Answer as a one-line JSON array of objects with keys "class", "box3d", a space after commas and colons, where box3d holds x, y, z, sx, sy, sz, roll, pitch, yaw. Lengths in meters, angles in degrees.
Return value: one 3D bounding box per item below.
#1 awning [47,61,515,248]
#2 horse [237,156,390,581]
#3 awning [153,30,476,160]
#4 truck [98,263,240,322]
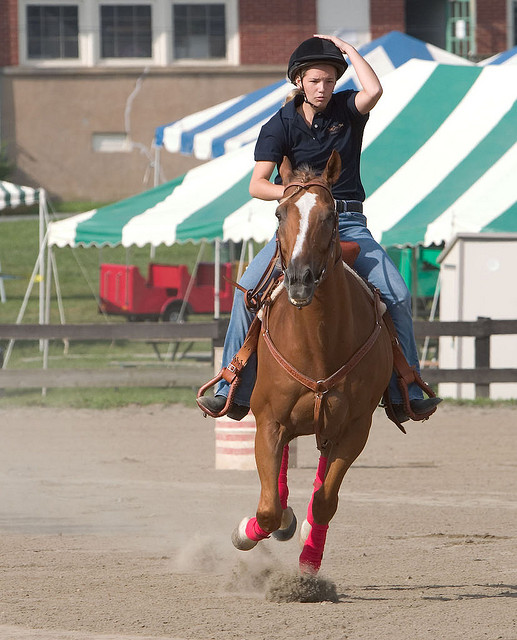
[{"class": "awning", "box3d": [1.267, -2.368, 25.902, 7.567, 2.179, 5.333, -6, 18, 13]}, {"class": "horse", "box3d": [0.504, 0.230, 14.291, 0.987, 2.912, 1.104, 0, 10, -5]}, {"class": "awning", "box3d": [0.766, -2.928, 24.419, 3.309, 1.118, 3.093, -20, 4, 2]}, {"class": "truck", "box3d": [-1.329, -0.410, 27.197, 1.690, 0.940, 1.019, -4, 8, -31]}]
